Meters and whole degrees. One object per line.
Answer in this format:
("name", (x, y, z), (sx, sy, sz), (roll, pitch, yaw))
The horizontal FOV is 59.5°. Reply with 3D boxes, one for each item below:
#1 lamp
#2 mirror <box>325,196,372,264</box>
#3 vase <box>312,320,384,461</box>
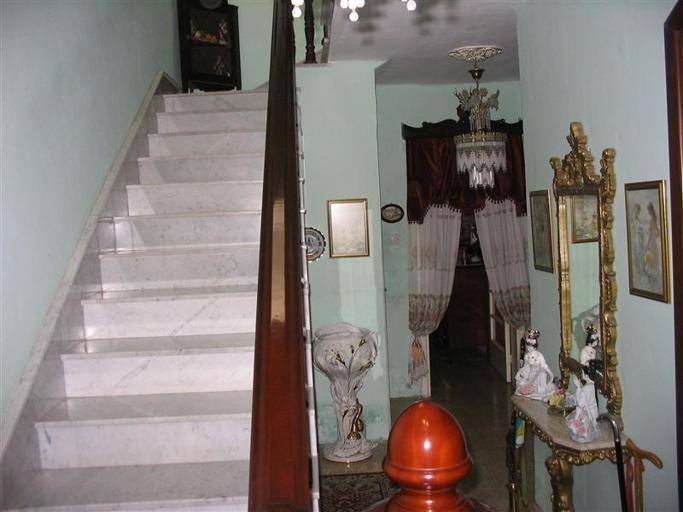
("lamp", (1.379, -1.378, 5.987), (0.503, 1.299, 0.521), (-7, 7, -20))
("mirror", (0.066, -0.262, 5.833), (0.571, 0.866, 0.063), (-1, 3, 3))
("vase", (0.068, 1.214, 5.273), (0.565, 1.213, 0.318), (-3, 8, -3))
